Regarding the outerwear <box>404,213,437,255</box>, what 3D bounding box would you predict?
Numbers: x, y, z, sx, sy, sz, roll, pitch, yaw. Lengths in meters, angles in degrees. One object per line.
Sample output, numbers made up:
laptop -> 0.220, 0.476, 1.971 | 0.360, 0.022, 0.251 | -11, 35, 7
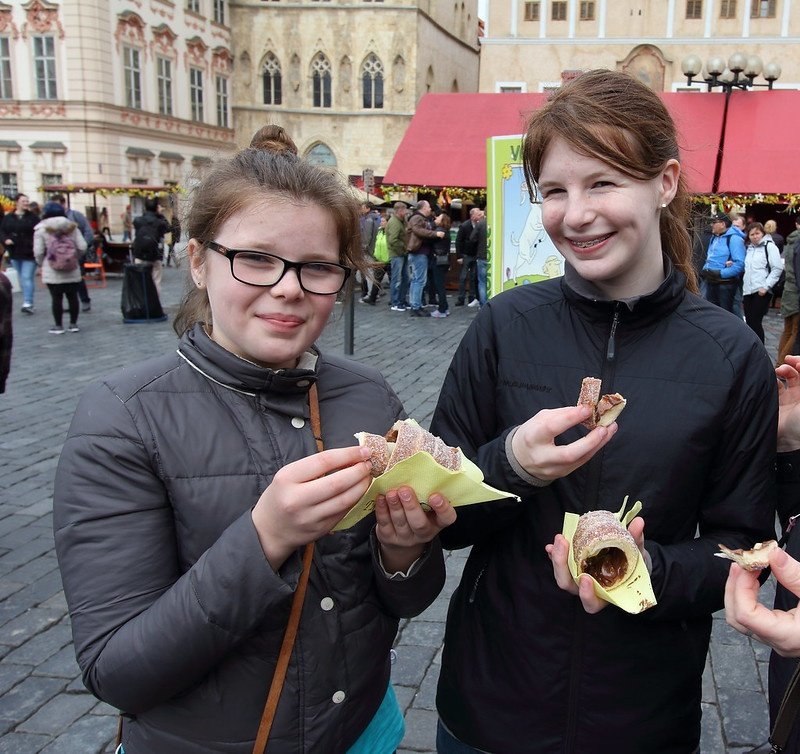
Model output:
outerwear -> 0.403, -3.232, 14.884 | 0.892, 0.947, 0.886 | -3, 16, -12

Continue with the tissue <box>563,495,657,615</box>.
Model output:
tissue -> 0.448, 0.360, 1.443 | 0.206, 0.103, 0.265 | -9, 28, -10

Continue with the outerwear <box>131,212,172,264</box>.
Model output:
outerwear -> -5.381, -3.151, 14.349 | 0.877, 1.067, 1.038 | 6, 23, -15

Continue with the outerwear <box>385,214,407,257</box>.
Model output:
outerwear -> -0.094, -3.253, 15.298 | 0.588, 1.023, 0.824 | -5, 21, -8

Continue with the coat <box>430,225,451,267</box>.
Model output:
coat -> 0.891, -2.986, 15.057 | 0.376, 0.367, 1.116 | -17, 20, 23

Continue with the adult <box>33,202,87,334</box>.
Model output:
adult -> -6.063, -1.958, 11.908 | 0.927, 2.289, 0.855 | -4, 21, -33

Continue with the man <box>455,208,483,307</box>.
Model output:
man -> 1.780, -2.950, 16.301 | 0.832, 2.384, 0.687 | 0, 3, -2

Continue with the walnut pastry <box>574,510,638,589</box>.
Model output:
walnut pastry -> 0.434, 0.369, 1.425 | 0.146, 0.156, 0.163 | 6, 6, 12
